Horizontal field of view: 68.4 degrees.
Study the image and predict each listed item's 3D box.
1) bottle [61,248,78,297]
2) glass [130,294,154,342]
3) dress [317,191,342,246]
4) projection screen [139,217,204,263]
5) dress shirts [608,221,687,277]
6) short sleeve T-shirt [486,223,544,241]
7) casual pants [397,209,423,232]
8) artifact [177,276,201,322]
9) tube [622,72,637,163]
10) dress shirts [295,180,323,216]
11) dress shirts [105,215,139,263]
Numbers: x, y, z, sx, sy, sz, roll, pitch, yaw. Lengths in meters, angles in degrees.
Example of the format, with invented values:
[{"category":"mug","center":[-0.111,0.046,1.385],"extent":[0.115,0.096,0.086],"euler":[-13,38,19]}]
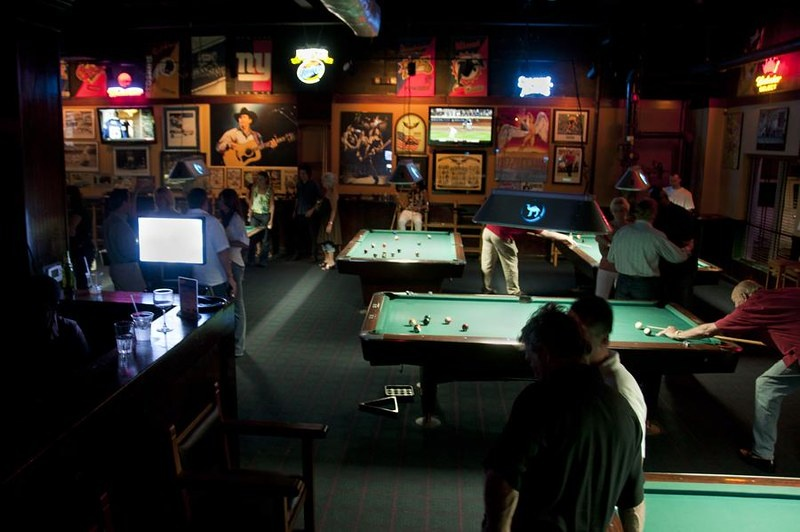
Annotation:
[{"category":"bottle","center":[-2.771,0.049,4.909],"extent":[0.083,0.410,0.415],"euler":[-5,13,-28]},{"category":"glass","center":[-1.832,0.369,4.172],"extent":[0.170,0.308,0.148],"euler":[-2,1,3]},{"category":"dress","center":[-1.368,-1.001,11.543],"extent":[0.517,1.476,0.610],"euler":[-1,27,-13]},{"category":"projection screen","center":[-2.223,-0.251,5.774],"extent":[0.798,0.493,0.075],"euler":[1,1,17]},{"category":"dress shirts","center":[2.741,-0.198,6.571],"extent":[0.775,0.633,0.254],"euler":[5,12,20]},{"category":"short sleeve T-shirt","center":[1.470,-0.449,7.714],"extent":[0.737,0.210,0.458],"euler":[-1,5,-19]},{"category":"casual pants","center":[0.206,-0.855,11.029],"extent":[0.588,0.297,0.923],"euler":[1,1,3]},{"category":"artifact","center":[-1.663,0.266,4.619],"extent":[0.337,0.343,0.113],"euler":[2,6,24]},{"category":"tube","center":[4.397,-2.804,11.245],"extent":[0.253,1.740,0.595],"euler":[5,12,18]},{"category":"dress shirts","center":[-1.798,-1.326,11.592],"extent":[0.762,0.772,0.471],"euler":[5,10,6]},{"category":"dress shirts","center":[-3.018,-0.281,6.369],"extent":[0.248,0.408,0.440],"euler":[-16,27,-41]}]
